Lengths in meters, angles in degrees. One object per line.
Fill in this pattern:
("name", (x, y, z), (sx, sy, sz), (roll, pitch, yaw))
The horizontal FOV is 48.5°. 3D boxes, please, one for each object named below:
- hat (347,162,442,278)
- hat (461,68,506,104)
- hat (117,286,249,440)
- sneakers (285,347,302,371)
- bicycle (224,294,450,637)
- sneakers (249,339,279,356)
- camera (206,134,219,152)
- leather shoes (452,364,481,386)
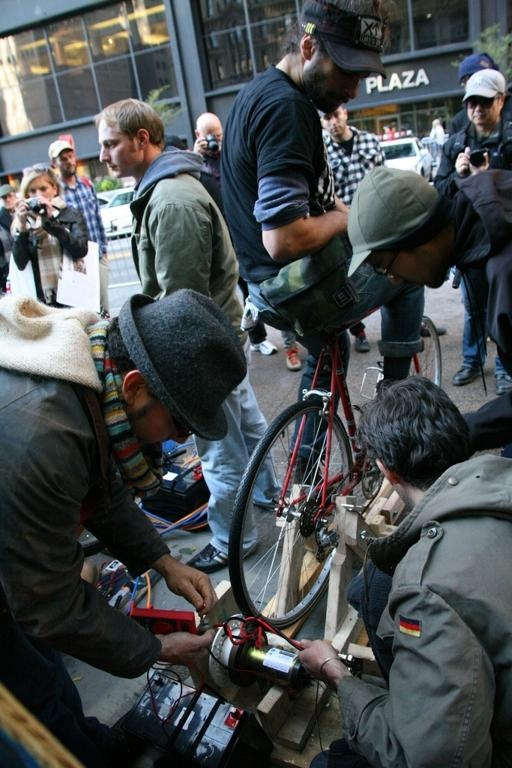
("hat", (0.382, -0.501, 1.827), (0.352, 0.225, 0.266), (-47, 16, 24))
("hat", (1.622, -2.067, 4.007), (0.212, 0.170, 0.316), (28, 49, 32))
("hat", (-0.138, -0.058, 1.140), (0.119, 0.317, 0.264), (-32, -3, 30))
("sneakers", (0.337, -0.227, 4.931), (0.086, 0.107, 0.264), (-4, 24, 0))
("bicycle", (0.406, 0.277, 2.718), (0.453, 1.054, 1.958), (-5, 28, 38))
("sneakers", (0.094, -0.362, 5.513), (0.315, 0.136, 0.118), (9, 24, 44))
("camera", (-0.360, -2.033, 4.787), (0.097, 0.141, 0.149), (-17, 40, 2))
("leather shoes", (1.495, -0.055, 4.031), (0.090, 0.117, 0.279), (7, 9, 41))
